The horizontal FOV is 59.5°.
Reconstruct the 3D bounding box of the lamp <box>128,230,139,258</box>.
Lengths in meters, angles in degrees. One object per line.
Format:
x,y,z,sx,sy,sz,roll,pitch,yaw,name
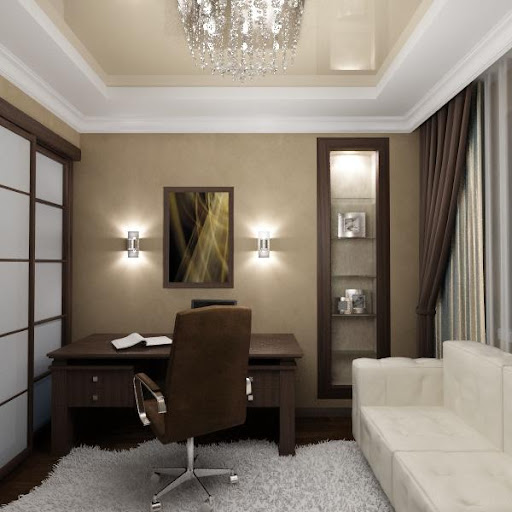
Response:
-1.123,-0.104,4.042,0.108,0.235,0.099,-1,4,-13,lamp

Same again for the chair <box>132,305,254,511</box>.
-0.382,0.894,2.733,0.693,1.234,0.486,0,4,-1,chair

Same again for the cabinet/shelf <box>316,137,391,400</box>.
0.893,0.096,4.139,0.679,2.359,0.494,1,4,9,cabinet/shelf
